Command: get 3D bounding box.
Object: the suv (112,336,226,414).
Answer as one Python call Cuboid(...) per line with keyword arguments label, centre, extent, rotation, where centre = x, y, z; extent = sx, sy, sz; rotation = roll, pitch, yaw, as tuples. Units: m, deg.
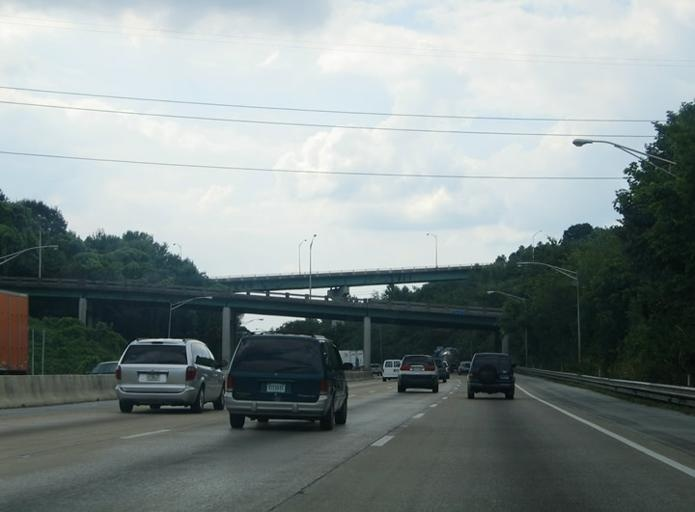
Cuboid(label="suv", centre=(-5.259, 3.647, 29.051), extent=(1.821, 2.206, 3.510), rotation=(-6, -10, 43))
